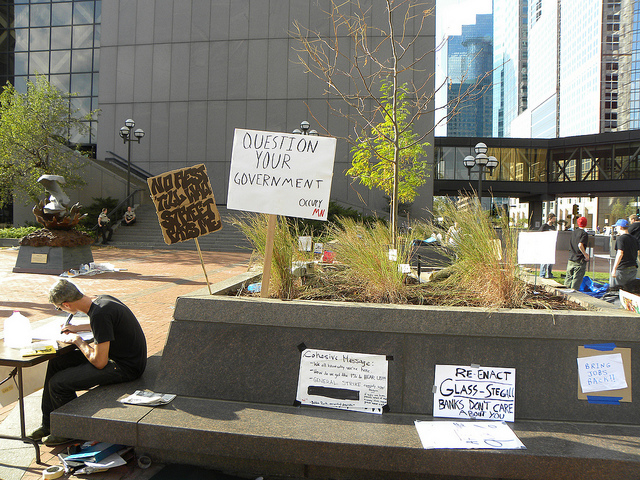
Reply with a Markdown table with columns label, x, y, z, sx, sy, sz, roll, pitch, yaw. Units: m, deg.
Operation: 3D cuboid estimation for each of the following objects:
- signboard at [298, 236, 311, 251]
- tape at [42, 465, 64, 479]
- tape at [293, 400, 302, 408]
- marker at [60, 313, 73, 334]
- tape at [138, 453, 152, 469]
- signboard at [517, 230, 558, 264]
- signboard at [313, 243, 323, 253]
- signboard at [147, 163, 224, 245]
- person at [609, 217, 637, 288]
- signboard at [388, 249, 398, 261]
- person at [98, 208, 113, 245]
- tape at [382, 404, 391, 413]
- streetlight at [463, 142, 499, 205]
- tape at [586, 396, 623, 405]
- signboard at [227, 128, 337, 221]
| label | x | y | z | sx | sy | sz | roll | pitch | yaw |
| --- | --- | --- | --- | --- | --- | --- | --- | --- | --- |
| signboard | -0.182 | 0.067 | 7.447 | 0.189 | 0.201 | 0.139 | 1 | -4 | -5 |
| tape | -2.591 | 2.256 | 5.724 | 0.187 | 0.088 | 0.165 | -5 | 5 | -25 |
| tape | -0.227 | 1.636 | 5.839 | 0.065 | 0.065 | 0.017 | 8 | -7 | 15 |
| marker | -2.904 | 0.978 | 6.749 | 0.037 | 0.260 | 0.038 | 21 | -16 | 38 |
| tape | -1.722 | 2.174 | 5.775 | 0.109 | 0.113 | 0.084 | 31 | -14 | 0 |
| signboard | 2.310 | 0.096 | 6.281 | 0.325 | 0.298 | 0.028 | 3 | 1 | 23 |
| signboard | -0.026 | 0.126 | 7.880 | 0.109 | 0.113 | 0.109 | 1 | -2 | 4 |
| signboard | -1.499 | -0.383 | 6.578 | 0.692 | 0.794 | 0.066 | -13 | -3 | -2 |
| person | 5.856 | 0.221 | 11.362 | 0.454 | 1.269 | 1.913 | 0 | 5 | 28 |
| signboard | 0.793 | 0.181 | 6.400 | 0.107 | 0.153 | 0.016 | 5 | 10 | 21 |
| person | -8.197 | -0.437 | 22.466 | 0.470 | 1.386 | 2.452 | -4 | 4 | -20 |
| tape | 0.653 | 1.663 | 5.774 | 0.080 | 0.083 | 0.023 | -6 | -4 | -4 |
| streetlight | 5.379 | -1.847 | 19.740 | 0.912 | 2.669 | 0.887 | -1 | 4 | -35 |
| tape | 2.753 | 1.546 | 5.655 | 0.221 | 0.086 | 0.018 | 3 | -1 | 6 |
| signboard | -0.420 | -0.703 | 6.463 | 1.206 | 1.049 | 0.235 | -3 | 4 | 2 |
